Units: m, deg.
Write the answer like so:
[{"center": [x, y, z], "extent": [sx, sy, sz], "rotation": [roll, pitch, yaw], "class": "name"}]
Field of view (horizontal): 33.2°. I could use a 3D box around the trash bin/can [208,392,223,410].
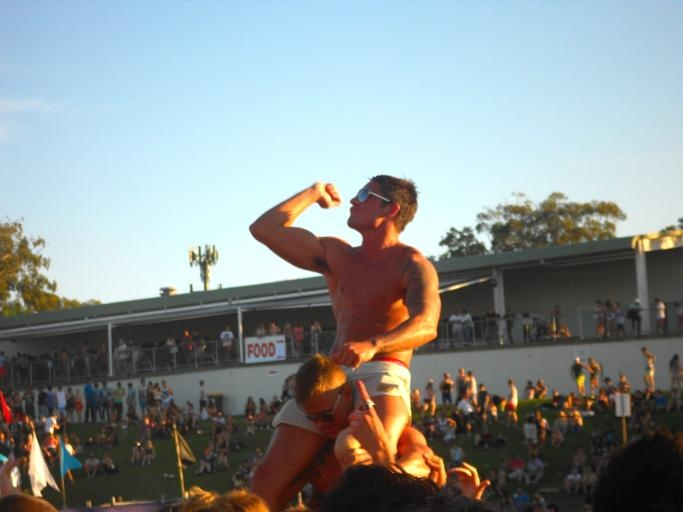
[{"center": [-5.380, 6.266, 49.447], "extent": [0.576, 0.850, 0.765], "rotation": [-1, 1, -36], "class": "trash bin/can"}]
